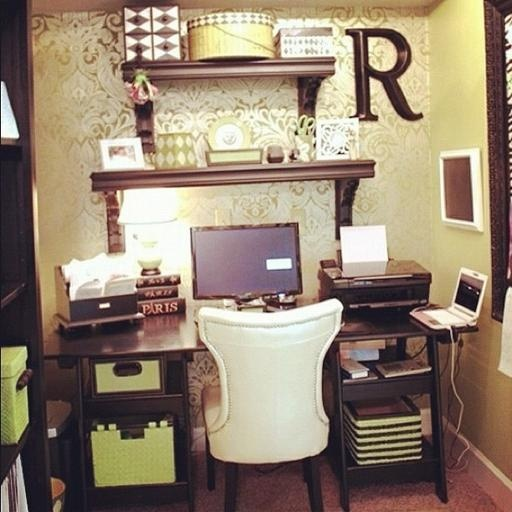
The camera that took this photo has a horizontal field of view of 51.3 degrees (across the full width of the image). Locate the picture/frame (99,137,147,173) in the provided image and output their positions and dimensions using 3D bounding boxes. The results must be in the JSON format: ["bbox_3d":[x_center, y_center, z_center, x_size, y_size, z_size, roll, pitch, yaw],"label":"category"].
[{"bbox_3d":[-0.653,-0.486,2.602,0.159,0.174,0.019,-3,-12,-10],"label":"picture/frame"}]

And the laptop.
[{"bbox_3d":[0.900,0.183,2.467,0.235,0.266,0.265,4,8,-6],"label":"laptop"}]

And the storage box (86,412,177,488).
[{"bbox_3d":[-0.550,0.752,2.360,0.395,0.375,0.254,0,5,0],"label":"storage box"}]

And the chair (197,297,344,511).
[{"bbox_3d":[0.058,0.558,2.369,0.590,1.343,0.743,0,6,-4],"label":"chair"}]

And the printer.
[{"bbox_3d":[0.600,0.193,2.698,0.459,0.321,0.388,-2,4,-2],"label":"printer"}]

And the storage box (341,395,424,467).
[{"bbox_3d":[0.598,0.799,2.483,0.212,0.140,0.332,-1,-5,-2],"label":"storage box"}]
